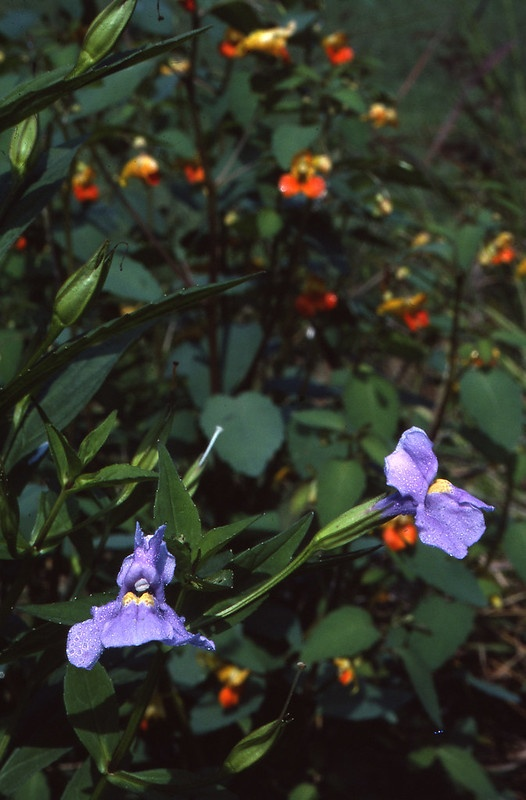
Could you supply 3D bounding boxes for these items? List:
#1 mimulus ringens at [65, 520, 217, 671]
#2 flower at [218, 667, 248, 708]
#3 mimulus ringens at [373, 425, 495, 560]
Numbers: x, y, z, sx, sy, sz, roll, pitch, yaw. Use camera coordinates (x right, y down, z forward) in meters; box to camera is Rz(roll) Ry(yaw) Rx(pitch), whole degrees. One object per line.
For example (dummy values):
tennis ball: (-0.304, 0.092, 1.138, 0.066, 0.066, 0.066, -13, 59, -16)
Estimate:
mimulus ringens: (-0.088, 0.153, 0.574, 0.107, 0.056, 0.107, 2, 27, 5)
flower: (-0.045, 0.412, 1.084, 0.042, 0.056, 0.046, 3, 4, -1)
mimulus ringens: (0.138, 0.069, 0.597, 0.075, 0.090, 0.066, 5, 4, 23)
